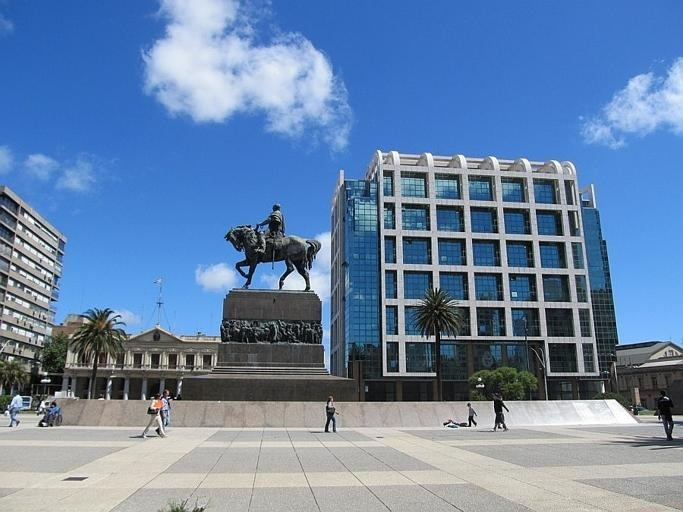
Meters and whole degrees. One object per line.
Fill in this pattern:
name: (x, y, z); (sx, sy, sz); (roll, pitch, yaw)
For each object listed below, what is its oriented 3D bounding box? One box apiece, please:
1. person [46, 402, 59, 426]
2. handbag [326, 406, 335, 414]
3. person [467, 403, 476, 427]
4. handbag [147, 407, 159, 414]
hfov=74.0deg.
person: (-16.664, 9.131, 26.190); (0.539, 1.376, 0.869); (13, -24, -40)
handbag: (-0.529, 7.999, 23.455); (0.400, 0.399, 0.289); (26, -19, -10)
person: (8.081, 9.809, 27.988); (0.509, 1.349, 1.627); (-7, -19, 15)
handbag: (-8.393, 6.898, 20.125); (0.303, 0.229, 0.306); (-1, -11, 8)
